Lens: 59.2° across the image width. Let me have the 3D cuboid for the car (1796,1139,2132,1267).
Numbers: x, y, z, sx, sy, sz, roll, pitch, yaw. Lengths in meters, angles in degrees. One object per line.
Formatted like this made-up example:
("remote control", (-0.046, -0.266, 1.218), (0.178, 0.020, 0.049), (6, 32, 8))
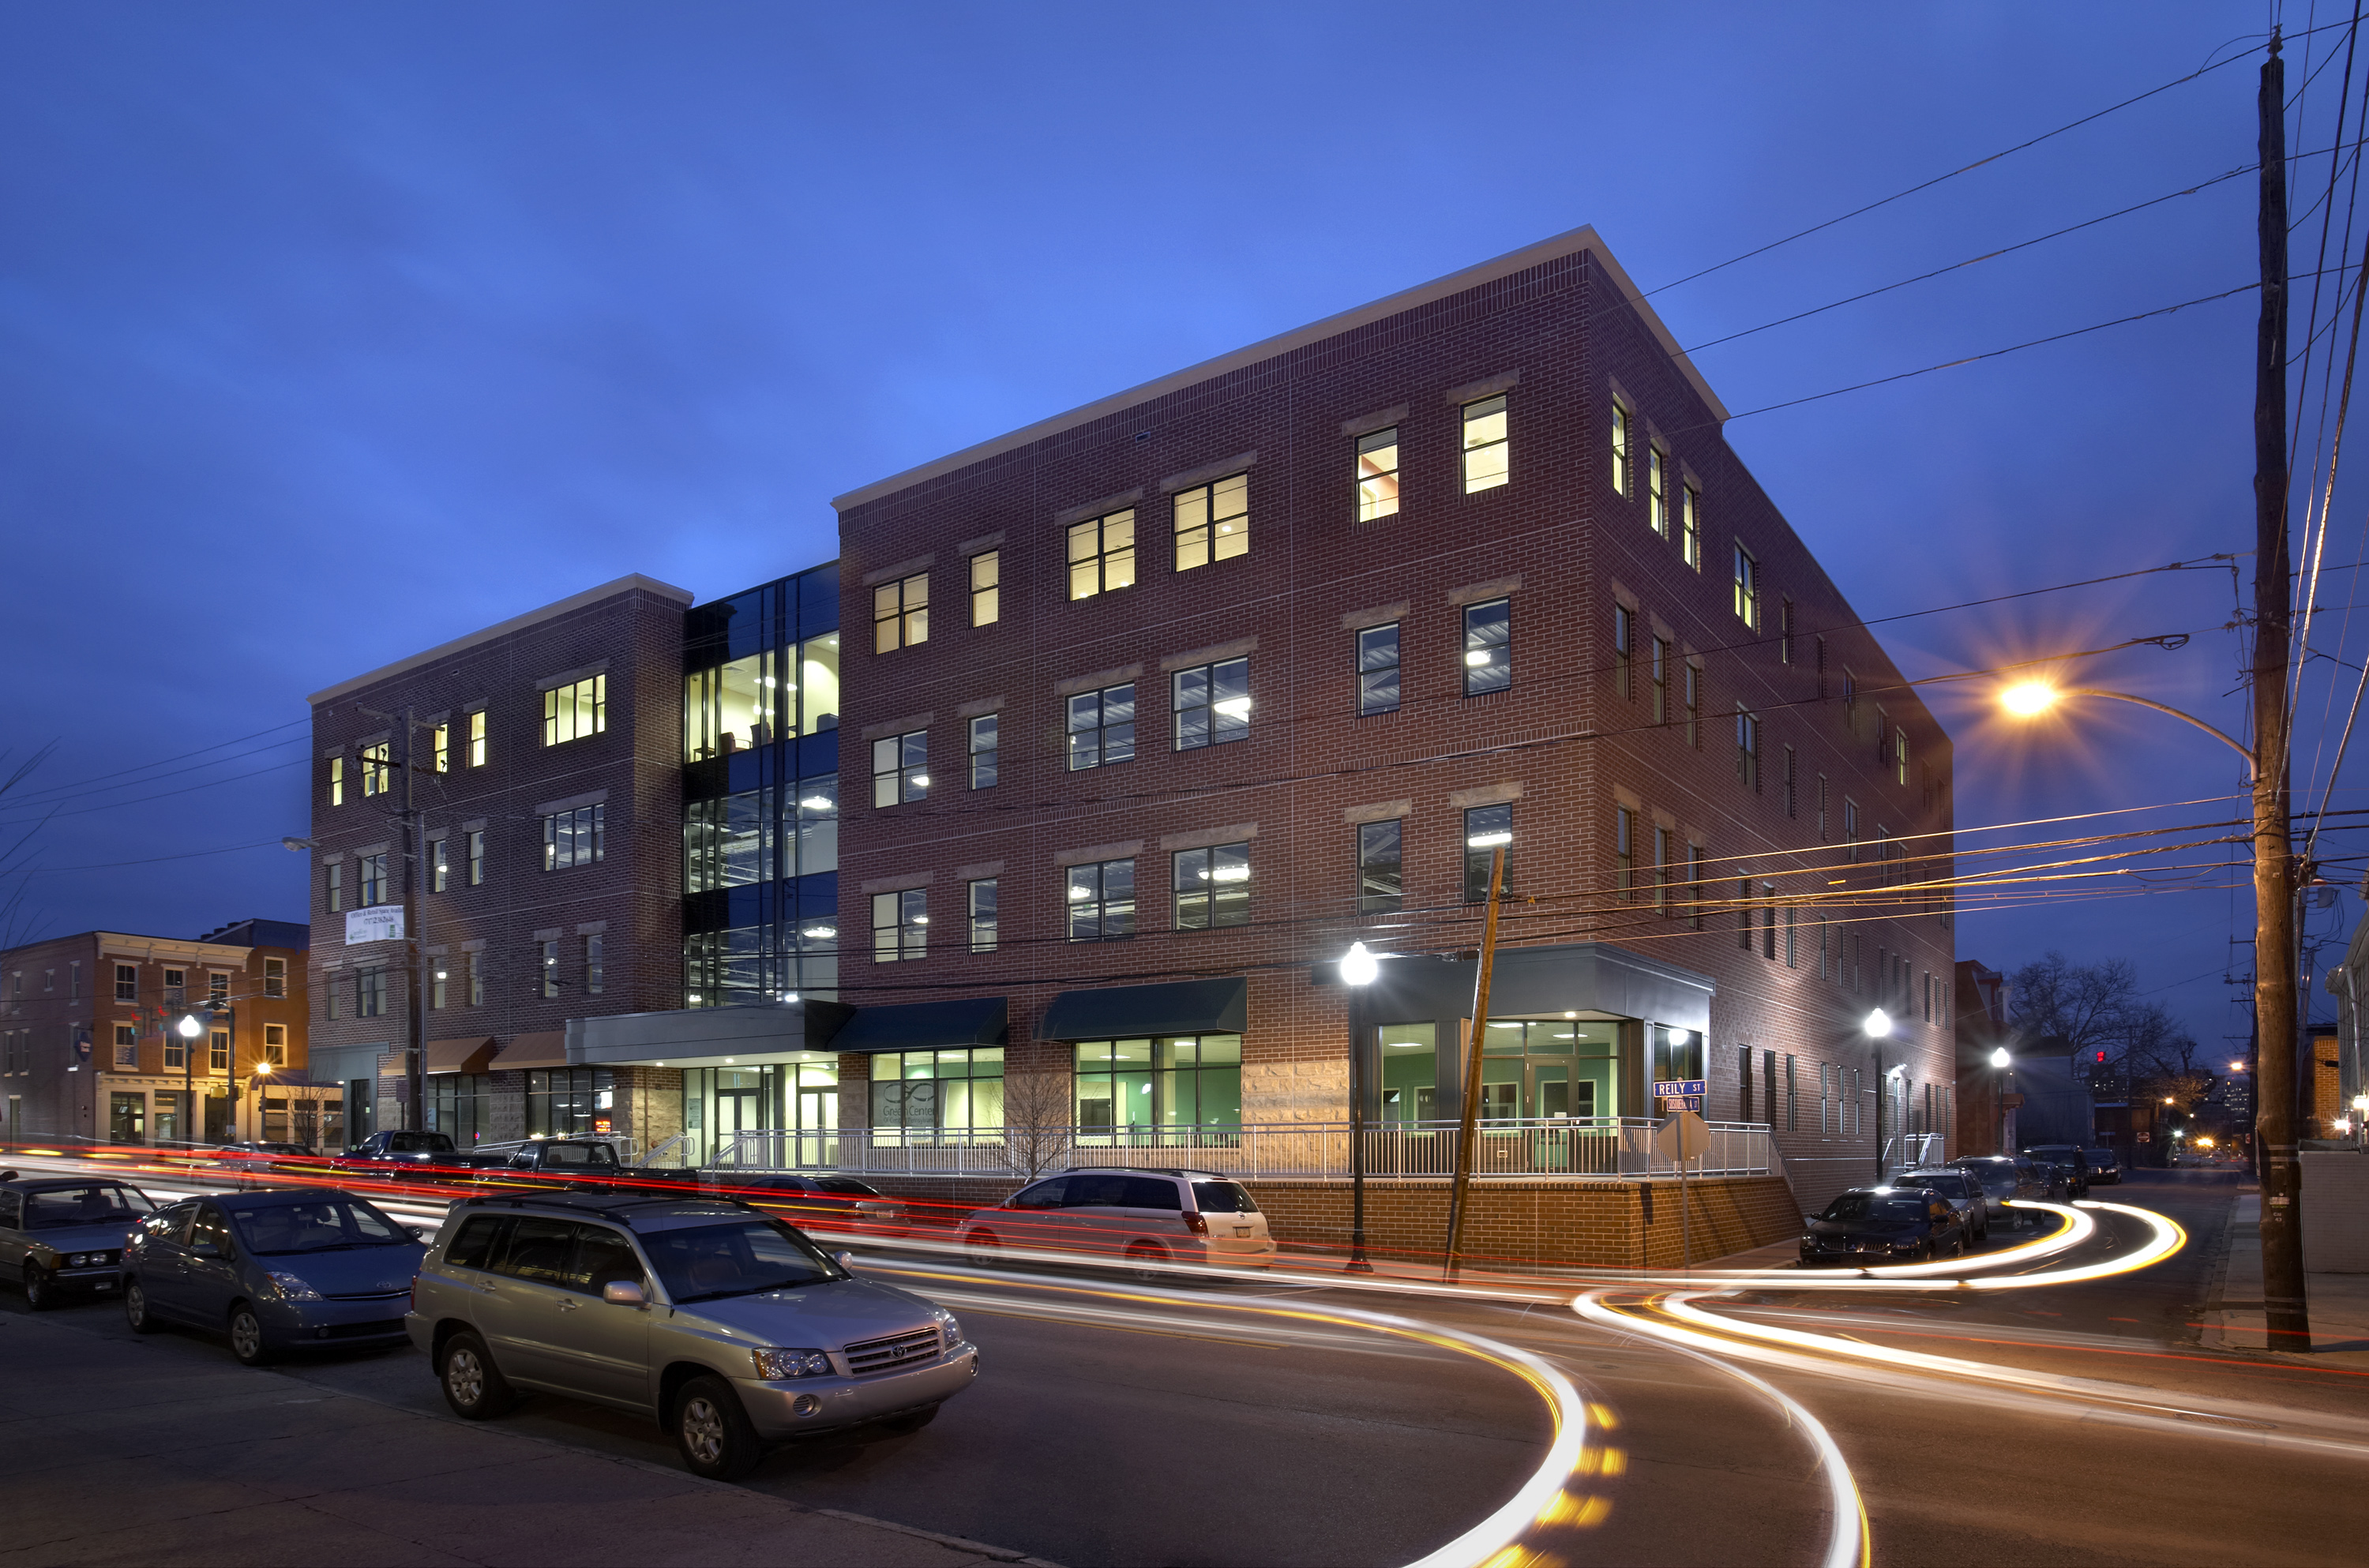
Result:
("car", (19.406, 10.453, 51.949), (9.146, 2.650, 4.021), (-18, -2, 18))

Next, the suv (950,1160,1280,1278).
("suv", (-1.397, 8.550, 40.775), (6.487, 1.911, 2.558), (-5, -11, 37))

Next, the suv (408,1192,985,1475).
("suv", (-6.293, 6.612, 25.869), (7.417, 2.810, 3.631), (-2, -5, 33))

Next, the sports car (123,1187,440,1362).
("sports car", (-13.204, 6.957, 30.191), (6.136, 1.983, 2.894), (-6, -4, 41))
